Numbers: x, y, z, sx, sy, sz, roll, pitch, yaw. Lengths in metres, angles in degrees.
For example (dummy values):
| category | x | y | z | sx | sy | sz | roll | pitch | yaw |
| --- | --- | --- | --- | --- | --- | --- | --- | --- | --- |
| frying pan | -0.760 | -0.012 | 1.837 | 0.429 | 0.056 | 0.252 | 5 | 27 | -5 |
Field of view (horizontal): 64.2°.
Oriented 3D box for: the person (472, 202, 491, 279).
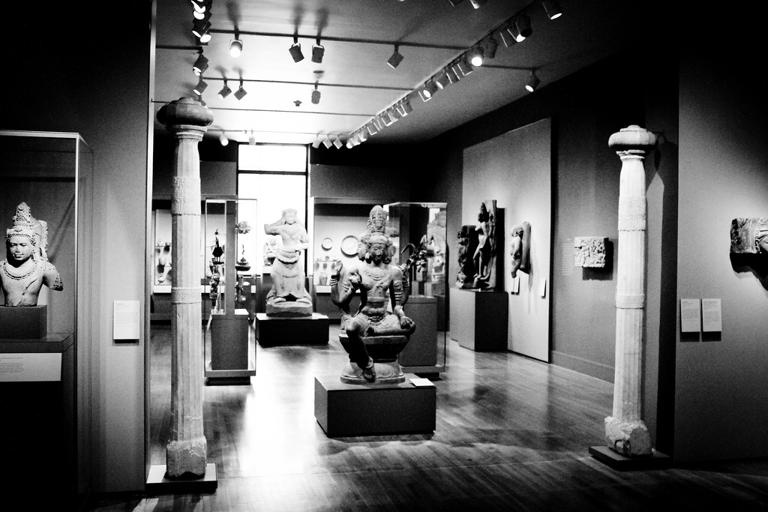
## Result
| category | x | y | z | sx | sy | sz | roll | pitch | yaw |
| --- | --- | --- | --- | --- | --- | --- | --- | --- | --- |
| person | 1.898 | -0.212 | 11.961 | 0.298 | 1.645 | 0.485 | 0 | 3 | -13 |

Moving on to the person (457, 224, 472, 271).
| category | x | y | z | sx | sy | sz | roll | pitch | yaw |
| --- | --- | --- | --- | --- | --- | --- | --- | --- | --- |
| person | 1.650 | -0.143 | 12.524 | 0.217 | 0.921 | 0.428 | 1 | 3 | 5 |

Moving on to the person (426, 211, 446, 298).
| category | x | y | z | sx | sy | sz | roll | pitch | yaw |
| --- | --- | --- | --- | --- | --- | --- | --- | --- | --- |
| person | 0.792 | -0.053 | 9.071 | 0.329 | 1.325 | 0.125 | -2 | 4 | -35 |
